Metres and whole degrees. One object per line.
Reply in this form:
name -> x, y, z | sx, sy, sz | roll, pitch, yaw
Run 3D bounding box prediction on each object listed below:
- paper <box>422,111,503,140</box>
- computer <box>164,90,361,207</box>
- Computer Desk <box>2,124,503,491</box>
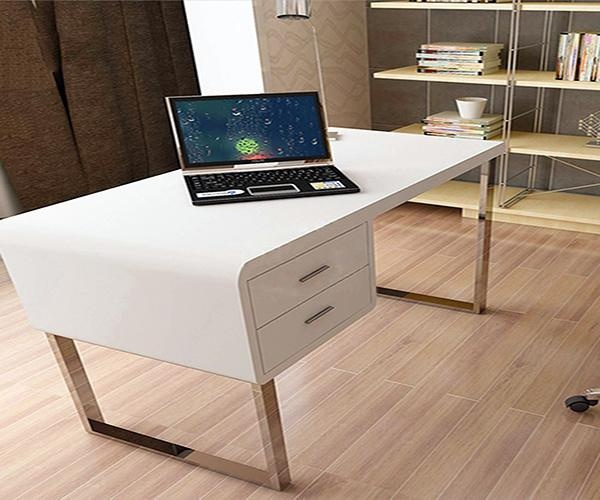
paper -> 1.017, -0.757, 3.088 | 0.434, 0.075, 0.422 | -14, 24, -34
computer -> -0.117, -0.295, 1.479 | 0.530, 0.192, 0.359 | -19, 46, -20
Computer Desk -> -0.147, 0.165, 1.735 | 0.931, 0.908, 1.034 | 11, 28, 30
